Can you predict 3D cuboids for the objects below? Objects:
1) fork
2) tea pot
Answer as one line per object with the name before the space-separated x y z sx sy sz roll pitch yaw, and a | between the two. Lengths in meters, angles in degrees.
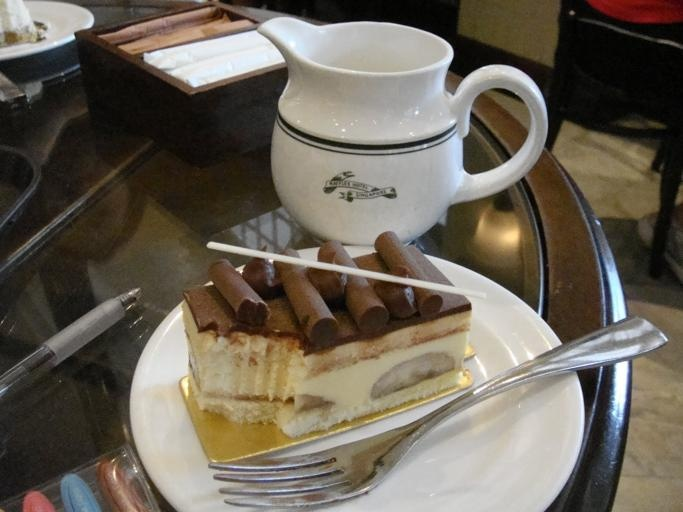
fork | 0.100 0.200 0.788 0.645 0.080 0.095 -18 25 -23
tea pot | 0.103 -0.206 0.990 0.472 0.369 0.359 11 36 13
